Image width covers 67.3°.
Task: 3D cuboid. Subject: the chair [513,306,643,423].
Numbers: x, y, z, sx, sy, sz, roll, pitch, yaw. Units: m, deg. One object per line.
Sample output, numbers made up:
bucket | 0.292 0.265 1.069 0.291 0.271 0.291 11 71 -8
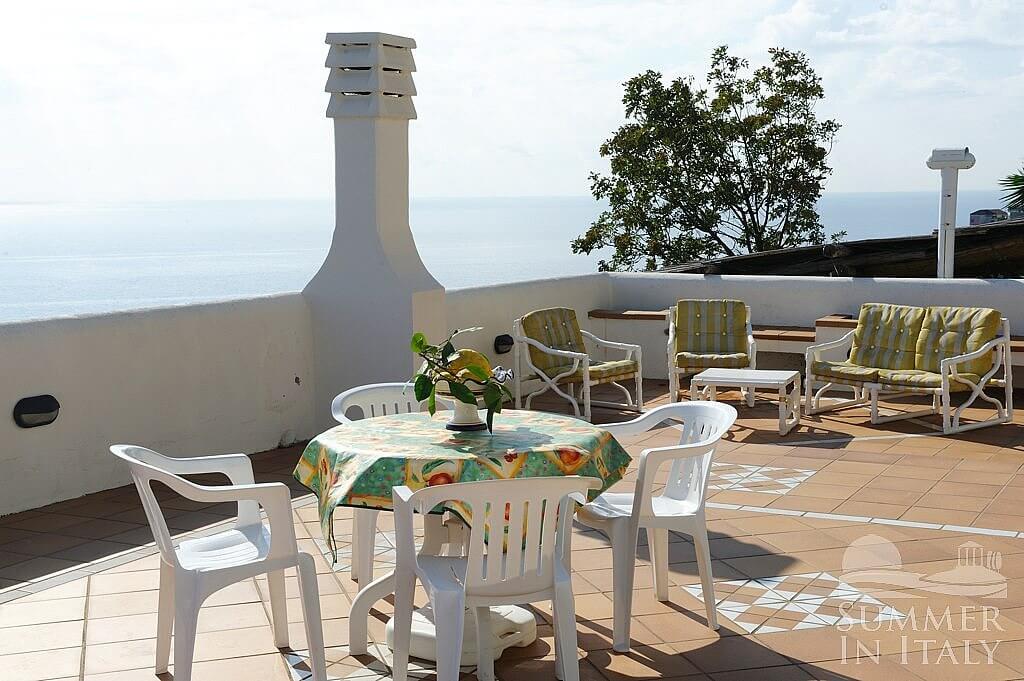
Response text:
chair | 0.805 0.162 8.400 1.386 1.288 1.239 5 11 34

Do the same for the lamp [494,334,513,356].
lamp | -0.091 0.049 8.619 0.192 0.246 0.289 8 11 30

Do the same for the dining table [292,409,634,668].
dining table | -0.242 0.857 3.681 1.163 0.576 1.000 -2 7 -9

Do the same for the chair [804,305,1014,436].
chair | 4.072 0.212 7.785 1.745 1.109 1.480 3 11 33

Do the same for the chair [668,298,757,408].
chair | 2.188 0.074 8.487 1.005 1.011 1.118 0 5 7

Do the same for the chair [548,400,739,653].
chair | 0.657 0.902 4.091 1.119 1.385 1.103 0 2 -16

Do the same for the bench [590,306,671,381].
bench | 1.519 -0.120 10.277 1.259 1.108 0.863 1 5 15

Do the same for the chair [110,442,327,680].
chair | -1.295 0.978 3.404 0.693 1.086 0.855 -8 11 -28

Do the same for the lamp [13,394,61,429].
lamp | -3.380 0.492 5.458 0.260 0.217 0.123 4 -26 -41
